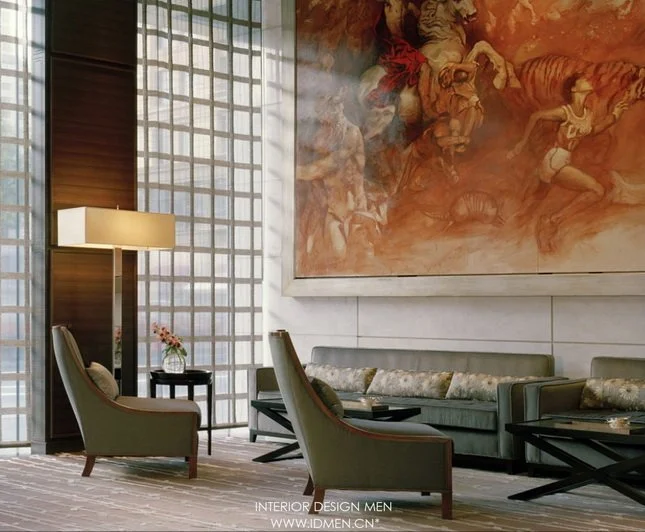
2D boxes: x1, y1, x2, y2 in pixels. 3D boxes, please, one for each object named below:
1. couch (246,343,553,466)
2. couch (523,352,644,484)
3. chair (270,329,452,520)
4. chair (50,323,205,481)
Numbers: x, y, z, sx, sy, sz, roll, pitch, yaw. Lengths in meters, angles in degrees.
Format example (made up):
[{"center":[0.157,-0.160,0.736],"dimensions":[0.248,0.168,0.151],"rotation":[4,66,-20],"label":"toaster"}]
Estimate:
[{"center":[0.639,1.290,6.185],"dimensions":[2.812,1.168,0.899],"rotation":[-5,-16,42],"label":"couch"},{"center":[1.826,1.076,5.130],"dimensions":[0.897,0.979,0.904],"rotation":[-7,-13,39],"label":"couch"},{"center":[0.234,1.007,4.504],"dimensions":[1.195,1.165,0.886],"rotation":[0,-5,-6],"label":"chair"},{"center":[-1.387,1.083,5.536],"dimensions":[1.256,1.260,0.843],"rotation":[1,-5,-9],"label":"chair"}]
